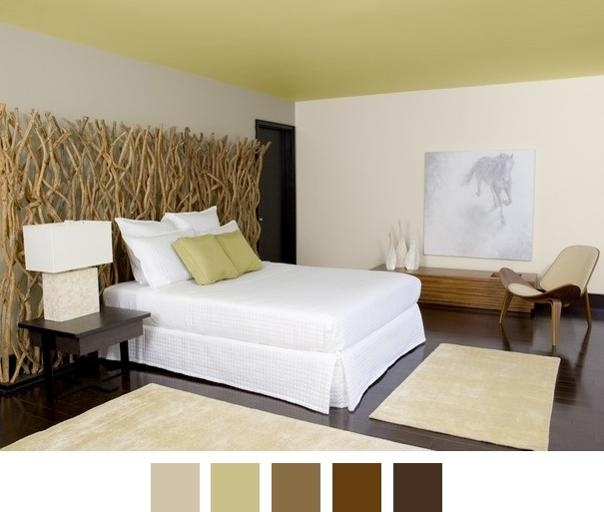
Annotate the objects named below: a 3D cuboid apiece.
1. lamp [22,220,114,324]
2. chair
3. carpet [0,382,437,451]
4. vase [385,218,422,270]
[{"bbox_3d":[-1.828,0.114,3.516,0.404,0.939,0.680,1,4,22],"label":"lamp"},{"bbox_3d":[2.588,0.259,4.856,0.959,0.961,0.985,-8,9,-32],"label":"chair"},{"bbox_3d":[-0.685,1.052,2.960,2.097,0.042,0.744,-1,8,0],"label":"carpet"},{"bbox_3d":[1.444,-0.171,6.452,0.580,0.902,0.447,3,5,31],"label":"vase"}]
